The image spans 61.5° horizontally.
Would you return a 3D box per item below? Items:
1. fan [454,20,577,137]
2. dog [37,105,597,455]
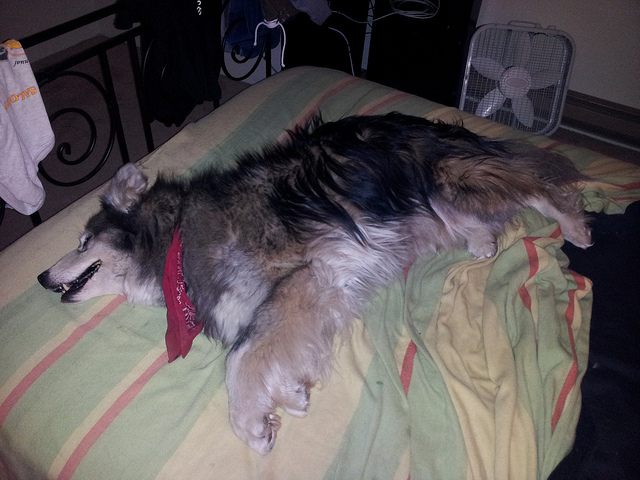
[{"bbox_3d":[1.624,-1.311,4.497,0.774,0.964,0.342,13,9,18],"label":"fan"},{"bbox_3d":[0.118,0.083,3.434,3.478,1.818,1.049,-19,-3,-9],"label":"dog"}]
